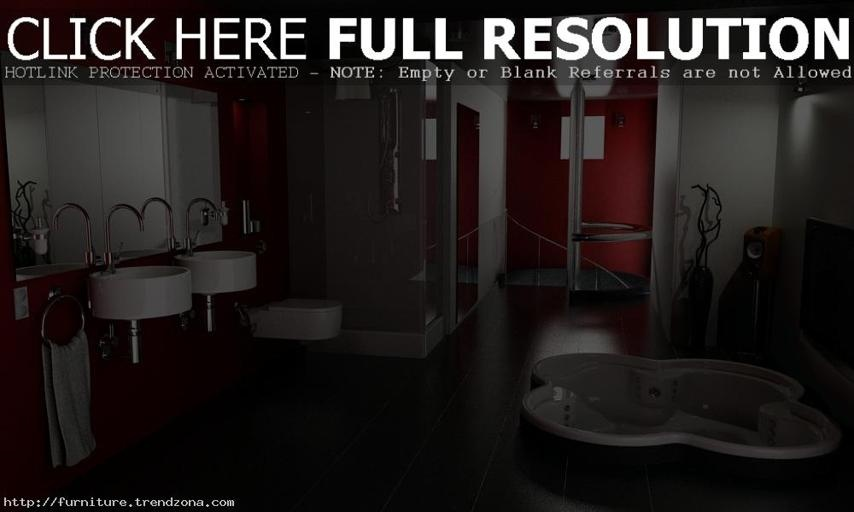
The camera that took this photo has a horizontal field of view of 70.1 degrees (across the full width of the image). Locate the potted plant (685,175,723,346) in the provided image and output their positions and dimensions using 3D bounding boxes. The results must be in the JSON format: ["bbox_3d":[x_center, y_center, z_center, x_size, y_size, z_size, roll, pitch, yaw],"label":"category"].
[{"bbox_3d":[2.955,0.139,6.564,0.340,1.823,0.309,4,14,17],"label":"potted plant"}]

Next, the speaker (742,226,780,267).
[{"bbox_3d":[3.433,-0.088,6.263,0.324,0.397,0.174,6,15,26],"label":"speaker"}]

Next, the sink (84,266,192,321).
[{"bbox_3d":[-2.032,0.262,4.439,0.485,0.196,0.471,0,3,2],"label":"sink"}]

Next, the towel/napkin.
[{"bbox_3d":[-2.511,1.034,4.262,0.206,0.959,0.355,12,18,42],"label":"towel/napkin"}]

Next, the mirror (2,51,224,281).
[{"bbox_3d":[-2.342,-0.652,4.424,0.021,1.344,1.876,1,4,20],"label":"mirror"}]

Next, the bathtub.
[{"bbox_3d":[2.062,1.413,5.186,2.417,0.582,1.494,3,14,14],"label":"bathtub"}]

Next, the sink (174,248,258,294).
[{"bbox_3d":[-1.724,0.084,4.992,0.429,0.179,0.430,1,4,5],"label":"sink"}]
